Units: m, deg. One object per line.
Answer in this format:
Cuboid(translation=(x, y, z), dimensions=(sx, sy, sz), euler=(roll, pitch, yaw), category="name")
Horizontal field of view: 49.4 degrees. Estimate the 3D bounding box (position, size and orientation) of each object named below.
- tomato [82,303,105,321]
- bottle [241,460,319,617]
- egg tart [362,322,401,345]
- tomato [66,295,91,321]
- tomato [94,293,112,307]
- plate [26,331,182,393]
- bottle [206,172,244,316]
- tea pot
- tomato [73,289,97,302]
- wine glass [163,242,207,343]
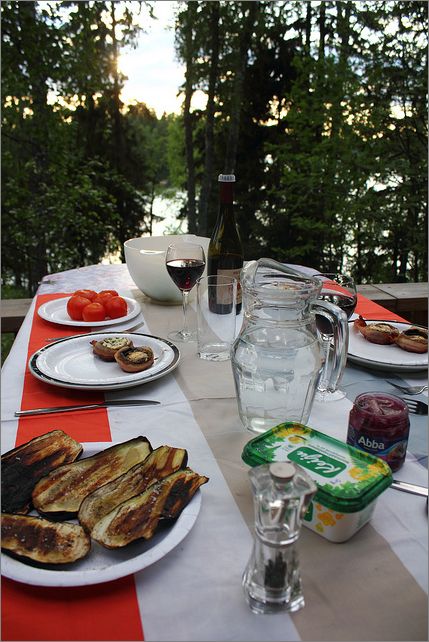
Cuboid(translation=(-0.347, -0.027, 1.329), dimensions=(0.051, 0.049, 0.050), euler=(0, -5, -1), category="tomato")
Cuboid(translation=(0.054, 0.187, 0.399), dimensions=(0.070, 0.132, 0.078), euler=(-1, 10, -15), category="bottle")
Cuboid(translation=(0.397, 0.023, 1.124), dimensions=(0.052, 0.027, 0.065), euler=(-2, 12, -6), category="egg tart")
Cuboid(translation=(-0.405, -0.041, 1.412), dimensions=(0.068, 0.067, 0.068), euler=(7, -3, 29), category="tomato")
Cuboid(translation=(-0.347, -0.067, 1.435), dimensions=(0.045, 0.044, 0.044), euler=(-2, 5, -11), category="tomato")
Cuboid(translation=(-0.238, 0.091, 1.001), dimensions=(0.227, 0.049, 0.267), euler=(9, 14, 38), category="plate")
Cuboid(translation=(0.025, -0.224, 1.429), dimensions=(0.119, 0.436, 0.119), euler=(2, 16, 0), category="bottle")
Cuboid(translation=(0.099, 0.040, 0.696), dimensions=(0.160, 0.278, 0.244), euler=(-9, 18, -31), category="tea pot")
Cuboid(translation=(-0.409, -0.085, 1.479), dimensions=(0.051, 0.049, 0.049), euler=(1, 4, -2), category="tomato")
Cuboid(translation=(-0.079, -0.074, 1.256), dimensions=(0.082, 0.265, 0.109), euler=(8, 12, 9), category="wine glass")
